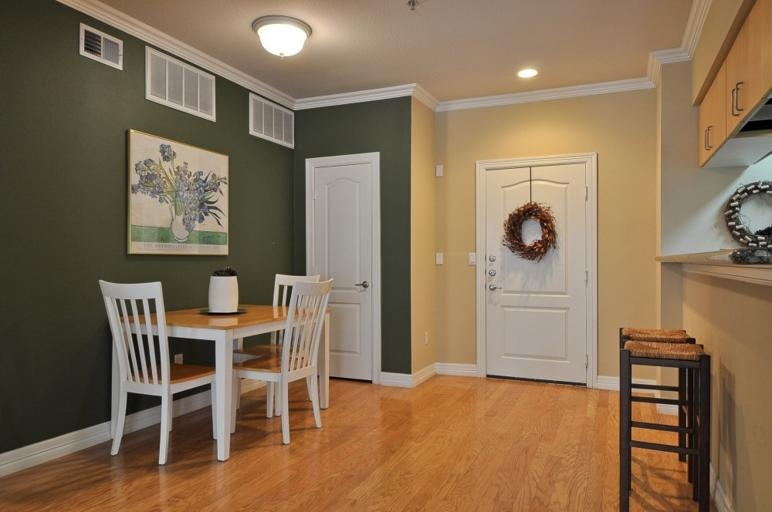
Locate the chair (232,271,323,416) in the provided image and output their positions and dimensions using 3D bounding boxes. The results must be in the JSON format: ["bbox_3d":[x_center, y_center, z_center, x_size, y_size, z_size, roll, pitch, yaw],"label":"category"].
[{"bbox_3d":[-1.166,0.672,5.536,1.054,1.652,0.913,3,-3,-32],"label":"chair"}]

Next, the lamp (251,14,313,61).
[{"bbox_3d":[-0.940,-1.895,4.767,0.535,0.274,0.524,0,-3,18],"label":"lamp"}]

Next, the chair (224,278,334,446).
[{"bbox_3d":[-0.872,0.968,4.530,0.871,1.332,0.845,-16,8,-20],"label":"chair"}]

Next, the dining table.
[{"bbox_3d":[-1.314,0.738,4.718,1.133,1.191,1.553,1,1,23],"label":"dining table"}]
